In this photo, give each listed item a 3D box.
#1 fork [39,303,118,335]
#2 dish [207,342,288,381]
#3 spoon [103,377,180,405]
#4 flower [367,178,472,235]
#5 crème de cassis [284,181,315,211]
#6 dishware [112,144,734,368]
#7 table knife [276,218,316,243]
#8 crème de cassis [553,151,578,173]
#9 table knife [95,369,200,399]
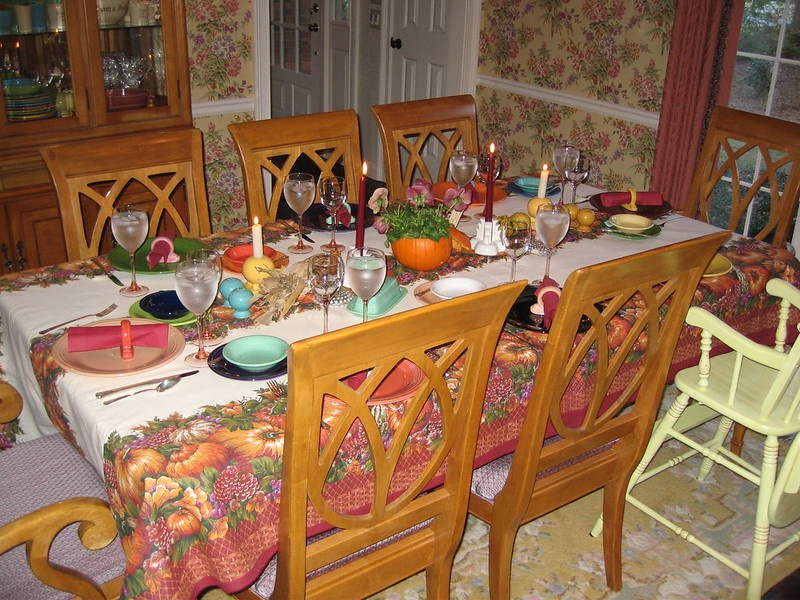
[{"bbox_3d":[-0.821,0.051,1.567,0.135,0.020,0.018,-24,49,-24],"label":"fork"},{"bbox_3d":[-0.352,0.151,1.412,0.093,0.017,0.093,-8,33,-29],"label":"dish"},{"bbox_3d":[-0.568,0.202,1.352,0.097,0.015,0.021,-16,37,-25],"label":"spoon"},{"bbox_3d":[0.063,-0.279,1.945,0.328,0.149,0.280,-7,15,-20],"label":"flower"},{"bbox_3d":[-0.327,-0.341,2.003,0.071,0.114,0.073,18,43,10],"label":"crème de cassis"},{"bbox_3d":[0.056,-0.144,1.871,0.940,0.224,0.600,-19,48,-23],"label":"dishware"},{"bbox_3d":[-0.382,-0.253,2.167,0.064,0.029,0.270,-11,28,-26],"label":"table knife"},{"bbox_3d":[0.620,-0.538,2.354,0.074,0.071,0.085,27,39,34],"label":"crème de cassis"},{"bbox_3d":[-0.571,0.190,1.371,0.156,0.013,0.022,-13,34,-22],"label":"table knife"}]
